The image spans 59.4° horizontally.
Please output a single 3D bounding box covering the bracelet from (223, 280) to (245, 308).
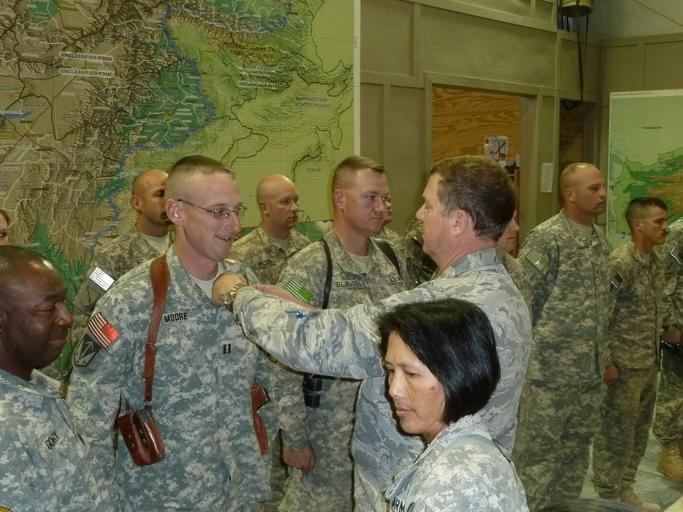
[{"bbox_3d":[-0.419,0.152,2.409,0.086,0.085,0.090,30,-1,6],"label":"bracelet"}]
